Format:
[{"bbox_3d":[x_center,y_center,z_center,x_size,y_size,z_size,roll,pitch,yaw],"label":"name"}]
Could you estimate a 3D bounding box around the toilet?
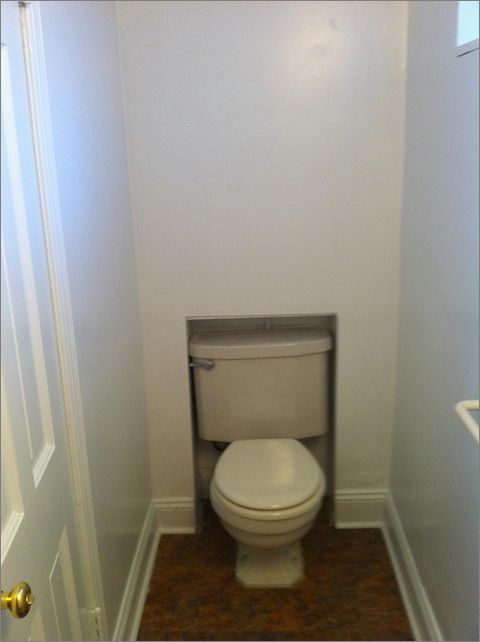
[{"bbox_3d":[0.107,0.492,1.875,0.483,0.788,0.623,-5,18,-8],"label":"toilet"}]
